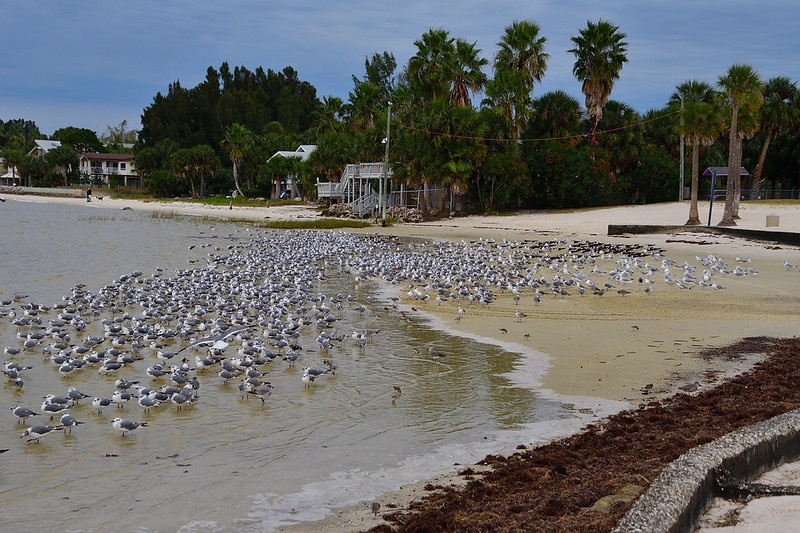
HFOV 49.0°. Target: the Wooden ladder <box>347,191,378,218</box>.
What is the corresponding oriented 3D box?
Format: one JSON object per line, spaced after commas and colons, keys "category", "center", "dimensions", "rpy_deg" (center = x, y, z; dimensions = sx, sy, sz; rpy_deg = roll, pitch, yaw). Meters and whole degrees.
{"category": "Wooden ladder", "center": [-2.411, -5.188, 73.830], "dimensions": [1.645, 2.079, 2.562], "rpy_deg": [-8, 13, -39]}
